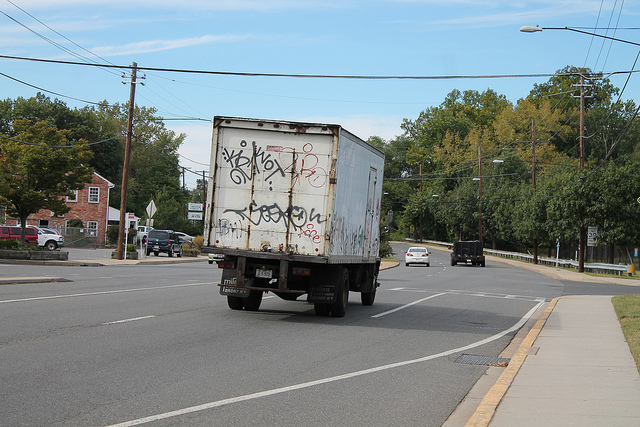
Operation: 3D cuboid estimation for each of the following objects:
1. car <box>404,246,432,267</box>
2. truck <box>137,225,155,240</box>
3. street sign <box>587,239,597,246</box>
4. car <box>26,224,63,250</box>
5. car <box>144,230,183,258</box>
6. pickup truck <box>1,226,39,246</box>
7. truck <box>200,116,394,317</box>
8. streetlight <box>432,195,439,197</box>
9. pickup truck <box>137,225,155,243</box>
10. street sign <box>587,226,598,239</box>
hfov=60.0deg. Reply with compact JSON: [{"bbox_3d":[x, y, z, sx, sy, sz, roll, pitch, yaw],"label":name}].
[{"bbox_3d":[8.895,3.988,50.794,1.992,1.759,1.945,2,-1,4],"label":"car"},{"bbox_3d":[-18.163,2.035,58.066,2.344,1.423,1.506,-3,-2,25],"label":"truck"},{"bbox_3d":[19.017,2.034,39.038,0.345,0.485,0.654,0,-1,15],"label":"street sign"},{"bbox_3d":[-23.528,2.138,48.277,3.245,1.629,1.783,-1,3,-8],"label":"car"},{"bbox_3d":[-13.226,2.591,47.203,3.304,2.381,2.547,3,-1,-25],"label":"car"},{"bbox_3d":[-21.581,1.647,39.931,2.385,1.322,1.455,-1,2,-20],"label":"pickup truck"},{"bbox_3d":[-0.358,0.216,15.102,5.155,5.221,2.807,3,-1,-44],"label":"truck"},{"bbox_3d":[19.587,-2.960,94.784,0.749,0.225,0.857,-2,-4,13],"label":"streetlight"},{"bbox_3d":[-17.617,2.142,56.284,1.404,1.415,2.362,2,11,11],"label":"pickup truck"},{"bbox_3d":[19.325,1.378,39.475,0.850,0.886,0.311,1,-1,-2],"label":"street sign"}]
